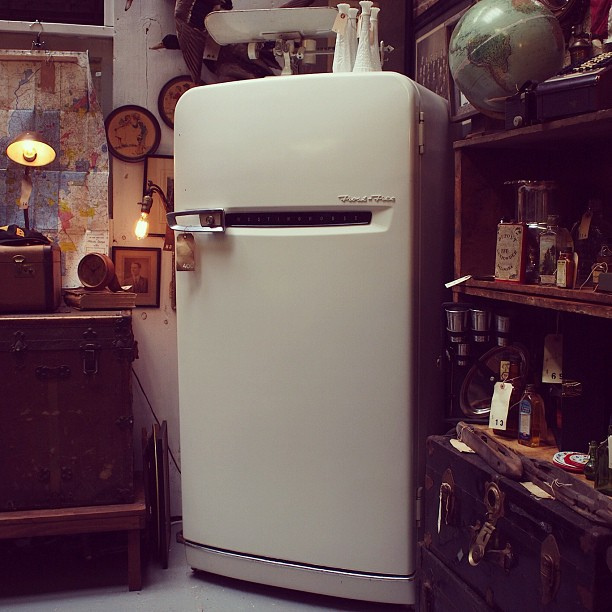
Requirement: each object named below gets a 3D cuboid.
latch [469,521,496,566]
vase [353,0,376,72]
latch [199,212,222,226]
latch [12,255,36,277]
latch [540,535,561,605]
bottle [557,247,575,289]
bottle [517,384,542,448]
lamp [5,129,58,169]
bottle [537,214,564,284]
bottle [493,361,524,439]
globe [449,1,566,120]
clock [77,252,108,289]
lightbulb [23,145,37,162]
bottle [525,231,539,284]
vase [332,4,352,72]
[{"bbox_3d":[0.400,0.549,1.419,0.017,0.122,0.070,-5,8,-30],"label":"latch"},{"bbox_3d":[0.185,-0.853,1.992,0.067,0.248,0.219,-1,7,6],"label":"vase"},{"bbox_3d":[-0.309,-0.281,2.024,0.046,0.057,0.012,1,1,24],"label":"latch"},{"bbox_3d":[-1.006,-0.133,2.218,0.079,0.099,0.065,0,-5,-13],"label":"latch"},{"bbox_3d":[0.479,0.527,1.229,0.016,0.147,0.054,-3,7,-17],"label":"latch"},{"bbox_3d":[0.606,-0.084,1.452,0.039,0.080,0.069,1,8,23],"label":"bottle"},{"bbox_3d":[0.573,0.283,1.595,0.055,0.155,0.046,2,7,23],"label":"bottle"},{"bbox_3d":[-1.078,-0.615,2.427,0.176,0.140,0.137,-4,8,-19],"label":"lamp"},{"bbox_3d":[0.606,-0.133,1.554,0.058,0.170,0.048,-1,-8,24],"label":"bottle"},{"bbox_3d":[0.521,0.236,1.671,0.065,0.233,0.063,2,17,-1],"label":"bottle"},{"bbox_3d":[0.530,-0.588,1.673,0.246,0.347,0.271,-10,1,20],"label":"globe"},{"bbox_3d":[-0.816,-0.133,2.383,0.114,0.149,0.072,-6,-4,17],"label":"clock"},{"bbox_3d":[-1.089,-0.602,2.456,0.044,0.055,0.047,5,11,-17],"label":"lightbulb"},{"bbox_3d":[0.586,-0.127,1.613,0.028,0.132,0.029,-1,7,0],"label":"bottle"},{"bbox_3d":[0.119,-0.877,2.042,0.061,0.236,0.124,-1,7,3],"label":"vase"}]
